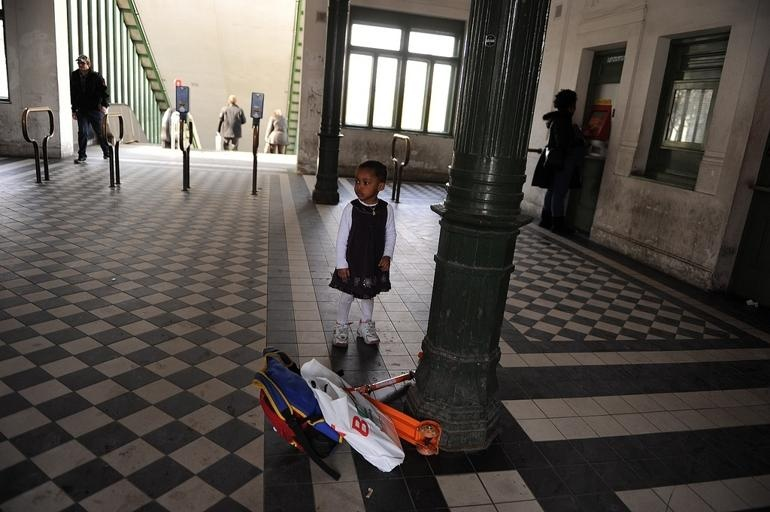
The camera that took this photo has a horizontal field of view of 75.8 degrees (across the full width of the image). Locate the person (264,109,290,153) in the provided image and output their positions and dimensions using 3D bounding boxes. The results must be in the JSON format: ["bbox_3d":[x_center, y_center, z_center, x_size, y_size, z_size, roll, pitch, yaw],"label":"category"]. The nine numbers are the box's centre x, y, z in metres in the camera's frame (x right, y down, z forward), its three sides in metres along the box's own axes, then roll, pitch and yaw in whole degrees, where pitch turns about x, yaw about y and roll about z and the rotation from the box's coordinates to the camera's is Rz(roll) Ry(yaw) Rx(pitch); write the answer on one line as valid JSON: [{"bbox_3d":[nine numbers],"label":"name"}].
[{"bbox_3d":[-3.558,-4.029,16.155,0.656,1.383,0.848,-3,20,-14],"label":"person"}]

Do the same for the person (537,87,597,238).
[{"bbox_3d":[3.008,-1.592,8.507,0.812,2.376,0.578,7,20,12],"label":"person"}]

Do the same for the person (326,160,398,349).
[{"bbox_3d":[-0.197,-0.007,4.333,0.552,1.634,0.305,0,20,-7],"label":"person"}]

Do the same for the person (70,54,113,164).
[{"bbox_3d":[-6.314,-3.082,10.493,1.188,2.146,0.746,19,26,39],"label":"person"}]

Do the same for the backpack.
[{"bbox_3d":[-0.605,1.028,3.393,0.723,0.408,0.560,46,1,9],"label":"backpack"}]

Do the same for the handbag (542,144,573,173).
[{"bbox_3d":[2.886,-1.653,8.273,0.417,0.465,0.155,10,2,16],"label":"handbag"}]

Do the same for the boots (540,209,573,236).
[{"bbox_3d":[3.065,-0.580,8.810,0.458,0.267,0.560,-10,20,-22],"label":"boots"}]
